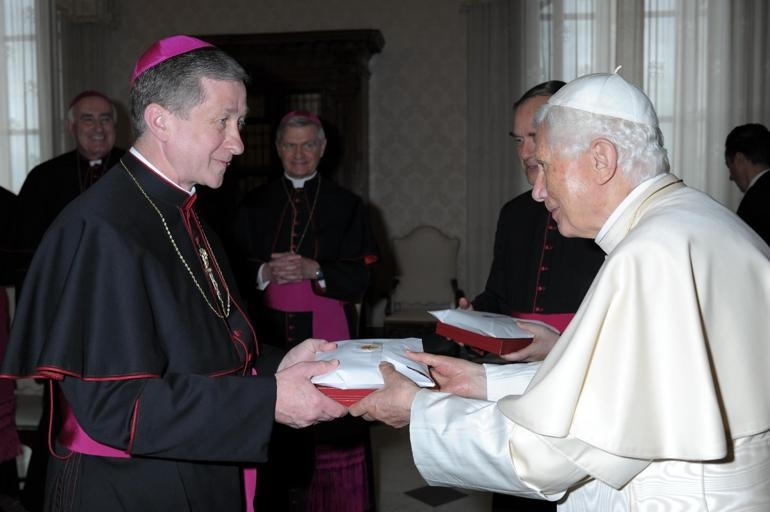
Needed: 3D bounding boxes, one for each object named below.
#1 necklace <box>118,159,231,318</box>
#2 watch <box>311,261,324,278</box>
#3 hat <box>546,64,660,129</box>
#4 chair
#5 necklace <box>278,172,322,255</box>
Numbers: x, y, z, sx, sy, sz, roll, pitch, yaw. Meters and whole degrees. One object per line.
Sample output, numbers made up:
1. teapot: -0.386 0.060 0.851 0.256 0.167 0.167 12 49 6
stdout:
1. necklace: -0.859 0.032 3.059 0.118 0.866 0.258 -27 -2 31
2. watch: -0.409 0.081 4.546 0.065 0.090 0.032 -2 0 -2
3. hat: 0.821 -0.597 2.804 0.272 0.146 0.278 19 24 8
4. chair: 0.355 0.403 7.228 0.855 1.291 0.891 3 6 21
5. necklace: -0.530 -0.237 4.839 0.088 0.807 0.108 23 -22 -37
